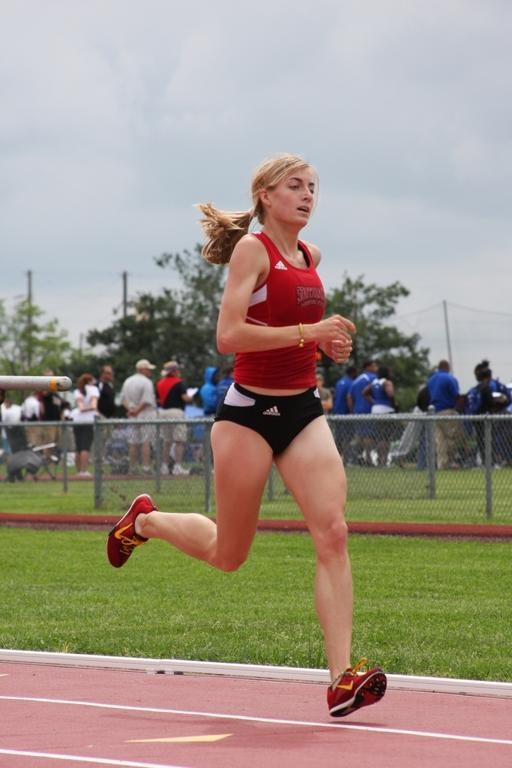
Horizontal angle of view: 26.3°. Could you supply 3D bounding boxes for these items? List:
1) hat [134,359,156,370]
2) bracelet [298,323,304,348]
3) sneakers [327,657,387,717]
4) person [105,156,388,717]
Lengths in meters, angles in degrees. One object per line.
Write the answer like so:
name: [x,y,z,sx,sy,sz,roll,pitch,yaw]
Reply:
hat: [-1.567,-0.215,15.567,0.310,0.166,0.186,1,26,-8]
bracelet: [0.161,-0.154,3.768,0.021,0.057,0.045,-6,14,8]
sneakers: [0.323,0.981,3.532,0.102,0.125,0.260,27,-55,-26]
person: [0.051,0.161,4.071,0.548,1.986,1.407,-1,-2,-20]
